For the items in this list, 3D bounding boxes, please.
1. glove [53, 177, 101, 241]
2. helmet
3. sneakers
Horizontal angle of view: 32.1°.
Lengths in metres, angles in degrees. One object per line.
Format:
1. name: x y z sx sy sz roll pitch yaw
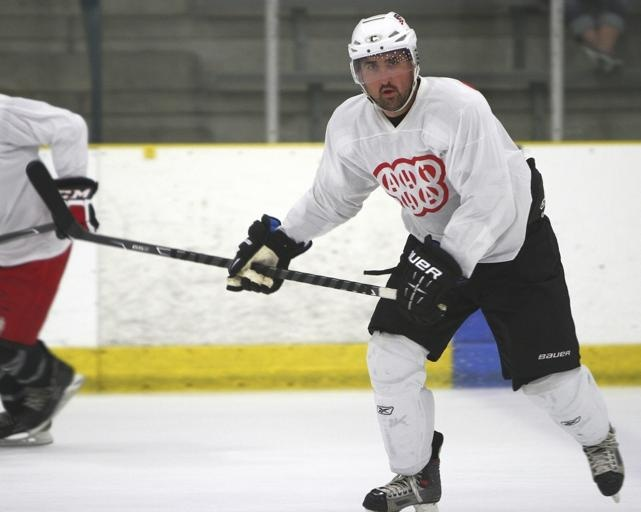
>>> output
1. glove: -1.071 -0.214 4.845 0.260 0.230 0.073 -6 -2 -20
2. helmet: 0.221 -0.802 4.237 0.246 0.267 0.293 -14 11 22
3. sneakers: 1.073 0.791 4.306 0.108 0.294 0.121 -28 -49 30
